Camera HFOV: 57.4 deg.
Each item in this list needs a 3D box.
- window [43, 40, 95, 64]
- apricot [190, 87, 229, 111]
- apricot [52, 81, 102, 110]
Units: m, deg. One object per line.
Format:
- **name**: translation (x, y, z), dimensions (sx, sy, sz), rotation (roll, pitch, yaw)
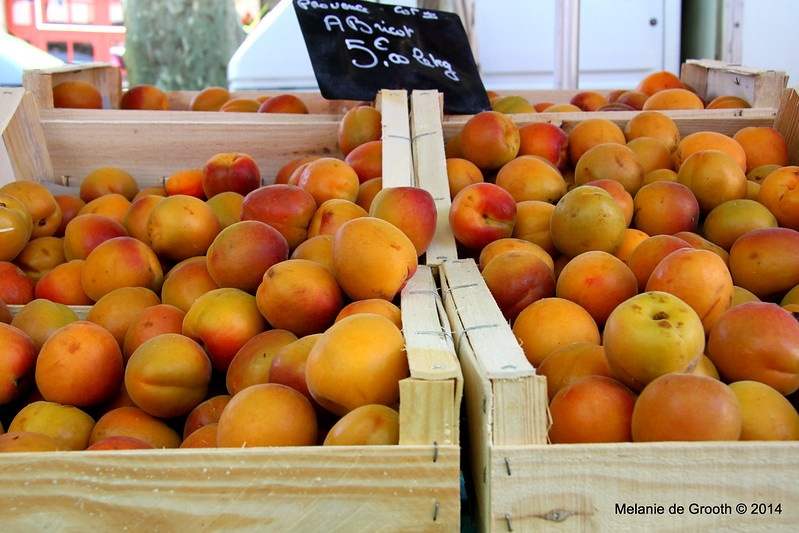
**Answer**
- **window**: translation (-4.959, -3.278, 11.030), dimensions (0.639, 0.290, 0.429), rotation (-9, 17, -27)
- **apricot**: translation (-0.921, -0.811, 3.558), dimensions (0.132, 0.105, 0.184), rotation (-14, 5, 5)
- **apricot**: translation (-1.425, -0.755, 3.210), dimensions (0.189, 0.115, 0.241), rotation (-4, 15, -11)
